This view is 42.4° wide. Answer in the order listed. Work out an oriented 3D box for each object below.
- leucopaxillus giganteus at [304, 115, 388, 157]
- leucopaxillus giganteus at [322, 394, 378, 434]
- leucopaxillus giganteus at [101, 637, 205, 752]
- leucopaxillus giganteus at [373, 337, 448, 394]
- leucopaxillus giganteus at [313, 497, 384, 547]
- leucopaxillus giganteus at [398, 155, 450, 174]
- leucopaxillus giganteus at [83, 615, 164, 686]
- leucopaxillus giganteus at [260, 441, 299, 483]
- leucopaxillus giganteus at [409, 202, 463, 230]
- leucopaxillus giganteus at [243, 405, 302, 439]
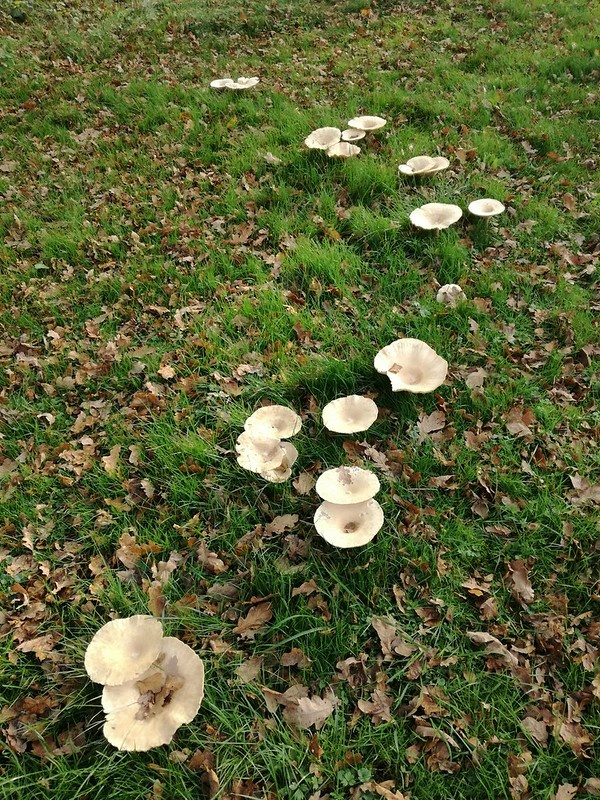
[{"bbox_3d":[0.414,-2.458,7.236,0.624,0.283,0.755,17,36,27],"label":"leucopaxillus giganteus"},{"bbox_3d":[0.327,0.093,4.999,0.350,0.144,0.305,-1,32,1],"label":"leucopaxillus giganteus"},{"bbox_3d":[-0.819,1.559,4.122,0.709,0.225,0.622,-13,33,26],"label":"leucopaxillus giganteus"},{"bbox_3d":[0.760,-0.243,5.210,0.422,0.174,0.416,22,59,27],"label":"leucopaxillus giganteus"},{"bbox_3d":[0.287,0.726,4.527,0.399,0.119,0.353,2,32,5],"label":"leucopaxillus giganteus"},{"bbox_3d":[1.072,-2.030,6.698,0.281,0.093,0.267,19,50,31],"label":"leucopaxillus giganteus"},{"bbox_3d":[-0.949,1.368,4.235,0.442,0.139,0.423,13,31,20],"label":"leucopaxillus giganteus"},{"bbox_3d":[-0.084,0.405,4.923,0.229,0.097,0.241,31,86,33],"label":"leucopaxillus giganteus"},{"bbox_3d":[1.094,-1.448,6.218,0.406,0.218,0.349,2,33,6],"label":"leucopaxillus giganteus"},{"bbox_3d":[-0.167,0.144,5.032,0.293,0.086,0.255,16,47,12],"label":"leucopaxillus giganteus"}]
